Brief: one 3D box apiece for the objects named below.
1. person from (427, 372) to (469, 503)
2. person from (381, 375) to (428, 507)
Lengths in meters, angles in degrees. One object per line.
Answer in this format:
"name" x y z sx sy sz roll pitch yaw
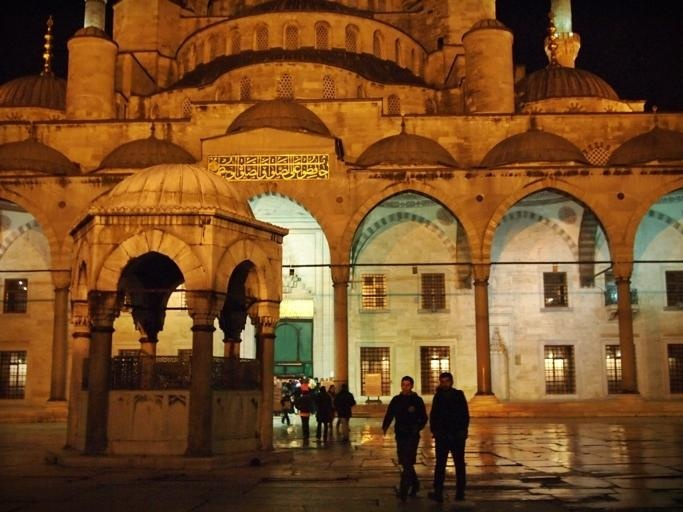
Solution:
"person" 2.106 3.446 20.913 0.766 2.435 0.516 -1 -13 4
"person" 1.289 3.484 20.921 0.802 2.331 0.448 -2 -13 5
